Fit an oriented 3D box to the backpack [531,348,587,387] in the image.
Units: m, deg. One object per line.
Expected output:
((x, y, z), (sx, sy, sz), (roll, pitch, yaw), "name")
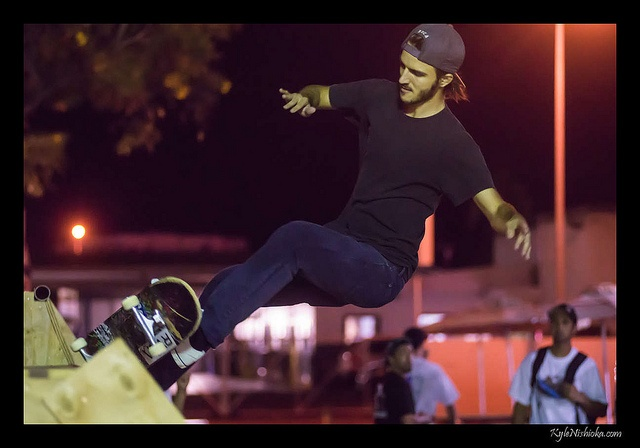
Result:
((1.871, 1.102, 5.815), (0.308, 0.342, 0.310), (3, -2, 31), "backpack")

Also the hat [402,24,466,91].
((0.978, -1.317, 5.916), (0.330, 0.396, 0.549), (-54, -15, 27), "hat")

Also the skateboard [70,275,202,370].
((-1.237, 0.688, 5.332), (1.230, 0.478, 0.204), (-37, -12, 25), "skateboard")

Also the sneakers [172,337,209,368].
((-0.962, 0.925, 5.397), (0.226, 0.177, 0.132), (-37, 4, 25), "sneakers")
